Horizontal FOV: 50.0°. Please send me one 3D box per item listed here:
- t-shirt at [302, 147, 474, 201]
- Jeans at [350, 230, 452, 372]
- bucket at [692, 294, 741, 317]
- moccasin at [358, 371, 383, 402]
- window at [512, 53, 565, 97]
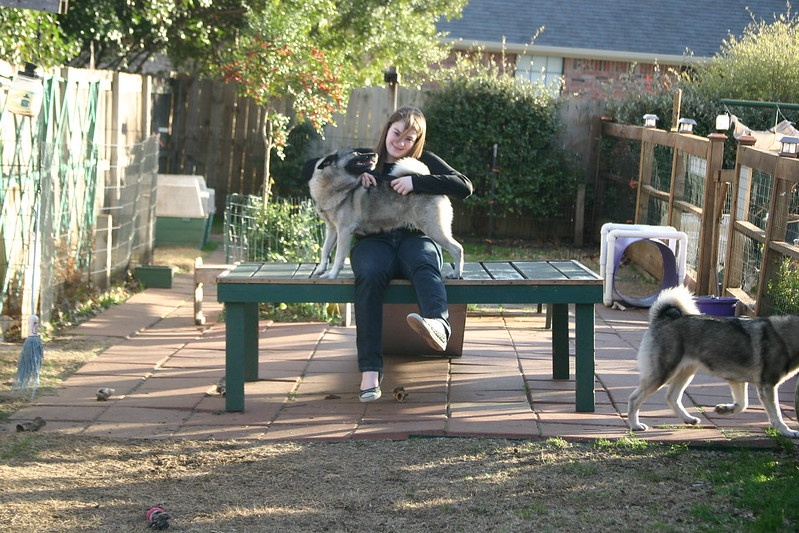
[{"bbox_3d":[0.117,-0.704,6.918,0.839,0.302,0.649,6,-4,21],"label":"t-shirt"},{"bbox_3d":[-0.009,0.270,6.730,0.745,1.065,0.628,-2,7,-4],"label":"Jeans"},{"bbox_3d":[3.174,0.396,8.515,0.373,0.169,0.281,2,0,-7],"label":"bucket"},{"bbox_3d":[-0.234,0.968,6.774,0.159,0.316,0.433,-2,7,-3],"label":"moccasin"},{"bbox_3d":[3.214,-4.442,19.712,1.083,0.063,1.316,6,53,8],"label":"window"}]
